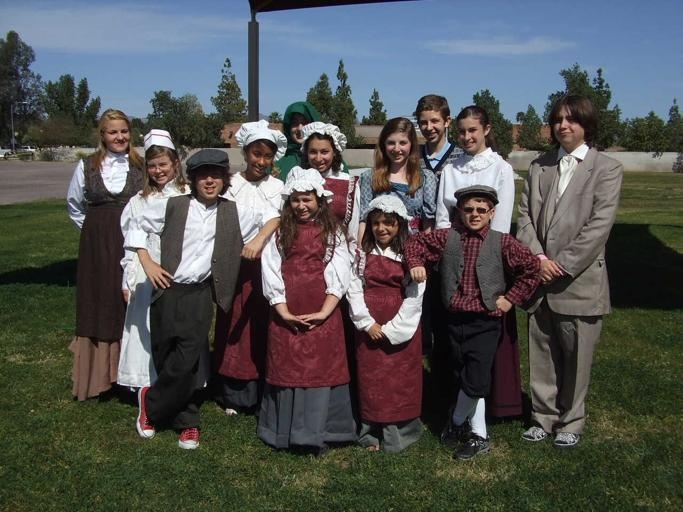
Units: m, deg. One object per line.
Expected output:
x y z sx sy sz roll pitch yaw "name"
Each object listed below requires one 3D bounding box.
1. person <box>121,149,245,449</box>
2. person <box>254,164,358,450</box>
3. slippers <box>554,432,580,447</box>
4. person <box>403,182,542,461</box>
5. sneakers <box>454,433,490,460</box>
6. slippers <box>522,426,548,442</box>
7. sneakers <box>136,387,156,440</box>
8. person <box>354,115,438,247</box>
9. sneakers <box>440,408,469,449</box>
-1.231 0.338 4.494 1.013 2.365 0.646 -6 15 -23 "person"
-0.286 0.416 4.439 0.704 2.156 0.756 8 16 29 "person"
1.812 1.497 4.450 0.216 0.090 0.093 13 -30 -14 "slippers"
1.004 0.499 4.429 0.929 2.102 0.659 -6 15 -22 "person"
1.072 1.548 4.470 0.359 0.173 0.130 2 -7 -42 "sneakers"
1.603 1.481 4.542 0.194 0.087 0.095 5 -10 -8 "slippers"
-1.656 1.343 4.609 0.147 0.451 0.188 0 -28 -28 "sneakers"
0.505 -0.414 4.935 0.712 1.643 0.364 1 2 8 "person"
0.959 1.489 4.578 0.140 0.160 0.420 -2 3 34 "sneakers"
